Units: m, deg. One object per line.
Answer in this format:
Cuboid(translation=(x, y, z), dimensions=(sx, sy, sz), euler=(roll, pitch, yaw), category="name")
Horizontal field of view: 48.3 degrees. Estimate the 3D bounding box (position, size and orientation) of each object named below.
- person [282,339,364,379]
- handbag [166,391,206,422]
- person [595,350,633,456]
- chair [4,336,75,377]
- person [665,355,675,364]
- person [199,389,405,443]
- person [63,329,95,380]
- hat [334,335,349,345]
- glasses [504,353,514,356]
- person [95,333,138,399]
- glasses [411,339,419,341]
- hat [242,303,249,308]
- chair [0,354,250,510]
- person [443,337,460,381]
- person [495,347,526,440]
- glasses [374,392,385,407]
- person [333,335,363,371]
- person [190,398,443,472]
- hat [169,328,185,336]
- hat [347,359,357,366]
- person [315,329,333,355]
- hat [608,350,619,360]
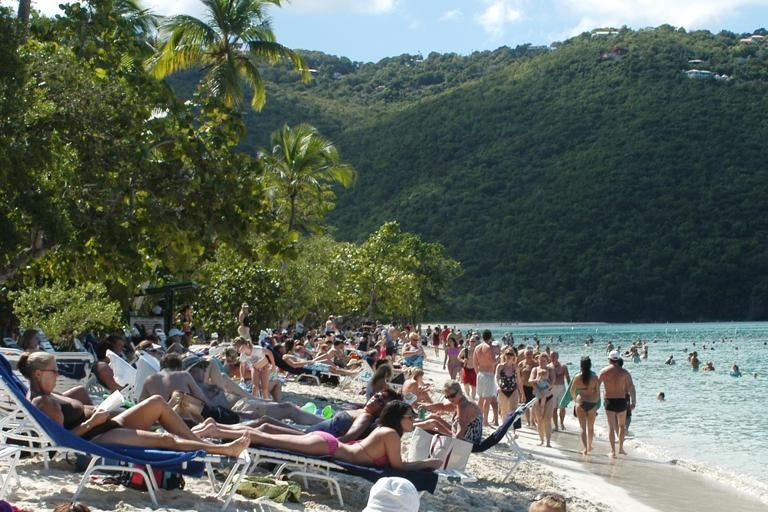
Cuboid(translation=(-1.872, 2.884, 24.019), dimensions=(1.810, 0.921, 0.893), euler=(4, 1, -11), category="person")
Cuboid(translation=(-3.684, 2.797, 15.935), dimensions=(0.545, 0.257, 0.553), euler=(39, 16, 24), category="handbag")
Cuboid(translation=(5.470, 3.429, 20.235), dimensions=(0.811, 2.394, 0.814), euler=(1, -2, 12), category="person")
Cuboid(translation=(-7.224, 2.140, 17.988), dimensions=(1.541, 0.972, 0.941), euler=(1, 4, -19), category="chair")
Cuboid(translation=(15.418, 5.519, 45.936), dimensions=(0.465, 0.502, 1.204), euler=(2, -6, 18), category="person")
Cuboid(translation=(-1.253, 3.040, 15.974), dimensions=(2.451, 0.915, 1.496), euler=(6, -5, -4), category="person")
Cuboid(translation=(-7.086, 2.250, 19.765), dimensions=(0.926, 1.368, 0.801), euler=(3, -1, -17), category="person")
Cuboid(translation=(-1.401, 2.719, 27.635), dimensions=(0.456, 0.429, 0.392), euler=(-7, 3, -4), category="hat")
Cuboid(translation=(3.104, 2.381, 21.037), dimensions=(0.207, 0.118, 0.156), euler=(3, -5, 5), category="glasses")
Cuboid(translation=(-5.819, 2.327, 18.286), dimensions=(0.841, 1.427, 0.578), euler=(-1, 1, -13), category="person")
Cuboid(translation=(0.909, 2.455, 25.291), dimensions=(0.214, 0.072, 0.194), euler=(6, -6, -18), category="glasses")
Cuboid(translation=(-4.264, 1.474, 26.108), dimensions=(0.178, 0.099, 0.273), euler=(1, 1, -9), category="hat")
Cuboid(translation=(-4.842, 3.164, 15.300), dimensions=(3.792, 2.510, 2.264), euler=(5, 0, -14), category="chair")
Cuboid(translation=(2.312, 3.616, 28.662), dimensions=(0.522, 2.003, 0.562), euler=(1, 19, 17), category="person")
Cuboid(translation=(3.106, 3.330, 21.253), dimensions=(0.680, 2.158, 0.658), euler=(-3, 20, 2), category="person")
Cuboid(translation=(-0.092, 2.671, 16.166), dimensions=(0.173, 0.061, 0.164), euler=(33, -7, -26), category="glasses")
Cuboid(translation=(-1.027, 2.942, 26.414), dimensions=(1.050, 1.281, 0.638), euler=(-4, 10, -6), category="person")
Cuboid(translation=(-1.340, 3.295, 15.721), dimensions=(2.586, 0.947, 0.812), euler=(10, -12, -5), category="person")
Cuboid(translation=(-5.377, 1.998, 22.060), dimensions=(0.337, 0.150, 0.237), euler=(-3, 7, -11), category="hat")
Cuboid(translation=(-1.000, 3.242, 26.312), dimensions=(0.222, 0.227, 0.171), euler=(25, 6, 38), category="hat")
Cuboid(translation=(-1.987, 2.810, 28.108), dimensions=(0.306, 1.149, 0.334), euler=(-2, 18, -42), category="person")
Cuboid(translation=(5.364, 2.263, 19.846), dimensions=(0.238, 0.217, 0.416), euler=(2, -6, 15), category="hat")
